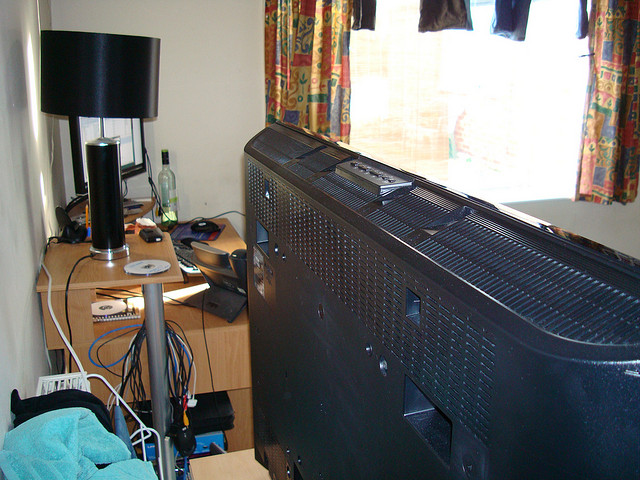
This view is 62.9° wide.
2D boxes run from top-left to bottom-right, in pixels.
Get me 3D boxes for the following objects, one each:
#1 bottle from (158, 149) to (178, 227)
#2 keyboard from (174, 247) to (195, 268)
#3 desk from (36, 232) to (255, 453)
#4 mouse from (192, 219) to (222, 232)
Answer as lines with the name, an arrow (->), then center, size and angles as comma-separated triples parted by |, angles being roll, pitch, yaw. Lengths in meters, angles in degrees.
bottle -> -0.752, -0.249, 2.592 | 0.080, 0.368, 0.190 | -5, 5, -17
keyboard -> -0.550, 0.070, 2.111 | 0.056, 0.027, 0.189 | -9, 35, -23
desk -> -0.516, 0.301, 1.543 | 0.551, 0.590, 0.801 | -6, 17, -19
mouse -> -0.567, -0.066, 2.570 | 0.148, 0.057, 0.157 | 0, 7, 37
